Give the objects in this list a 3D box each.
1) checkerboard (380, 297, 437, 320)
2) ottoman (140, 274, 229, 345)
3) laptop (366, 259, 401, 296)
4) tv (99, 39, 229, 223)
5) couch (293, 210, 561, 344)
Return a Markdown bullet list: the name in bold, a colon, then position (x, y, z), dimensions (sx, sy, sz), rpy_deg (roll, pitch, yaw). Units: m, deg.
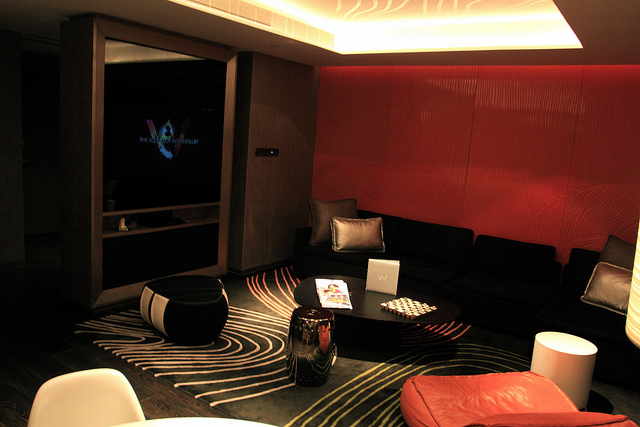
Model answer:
- **checkerboard**: position (0.909, 0.958, 4.551), dimensions (0.414, 0.080, 0.457), rpy_deg (12, 18, 40)
- **ottoman**: position (-1.307, 0.968, 4.560), dimensions (0.863, 0.362, 0.668), rpy_deg (10, 11, 44)
- **laptop**: position (0.684, 0.705, 4.859), dimensions (0.401, 0.364, 0.144), rpy_deg (8, 3, 26)
- **tv**: position (-1.925, -1.065, 5.325), dimensions (0.109, 2.118, 2.205), rpy_deg (14, 16, 35)
- **couch**: position (1.310, 0.680, 5.926), dimensions (3.333, 1.073, 1.093), rpy_deg (9, 9, 32)
